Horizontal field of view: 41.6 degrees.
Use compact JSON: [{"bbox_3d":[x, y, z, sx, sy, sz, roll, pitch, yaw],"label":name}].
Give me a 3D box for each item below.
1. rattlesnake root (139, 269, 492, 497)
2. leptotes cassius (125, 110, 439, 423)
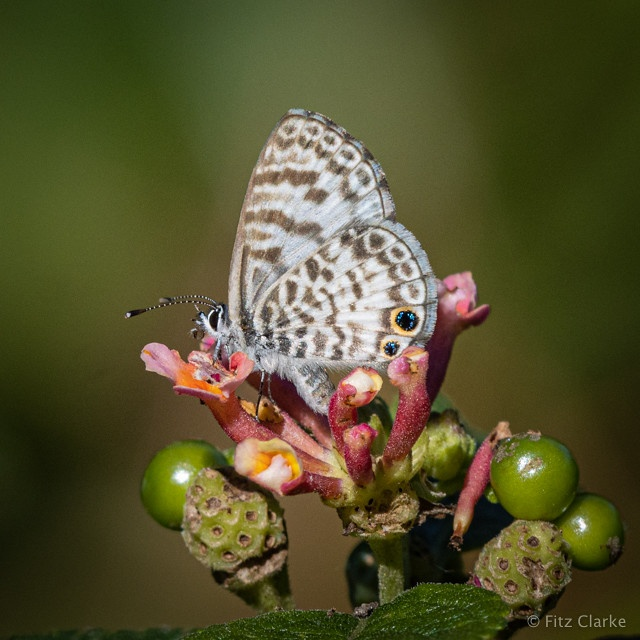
[{"bbox_3d":[0.027,0.032,2.568,0.683,0.853,0.797,-7,5,-9],"label":"rattlesnake root"},{"bbox_3d":[-0.012,-0.201,3.176,0.880,1.185,1.168,-7,3,-10],"label":"leptotes cassius"}]
